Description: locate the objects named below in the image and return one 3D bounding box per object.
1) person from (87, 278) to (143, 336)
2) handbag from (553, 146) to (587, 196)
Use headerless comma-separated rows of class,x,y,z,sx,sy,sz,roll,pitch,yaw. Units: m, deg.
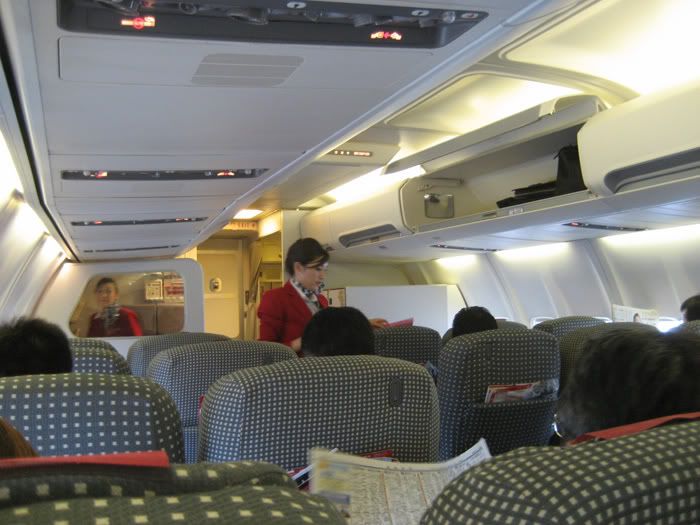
person,-2.668,0.522,5.724,0.753,0.690,0.296,-10,-4,-19
handbag,1.672,-0.708,3.869,0.173,0.415,0.281,-6,-7,5
